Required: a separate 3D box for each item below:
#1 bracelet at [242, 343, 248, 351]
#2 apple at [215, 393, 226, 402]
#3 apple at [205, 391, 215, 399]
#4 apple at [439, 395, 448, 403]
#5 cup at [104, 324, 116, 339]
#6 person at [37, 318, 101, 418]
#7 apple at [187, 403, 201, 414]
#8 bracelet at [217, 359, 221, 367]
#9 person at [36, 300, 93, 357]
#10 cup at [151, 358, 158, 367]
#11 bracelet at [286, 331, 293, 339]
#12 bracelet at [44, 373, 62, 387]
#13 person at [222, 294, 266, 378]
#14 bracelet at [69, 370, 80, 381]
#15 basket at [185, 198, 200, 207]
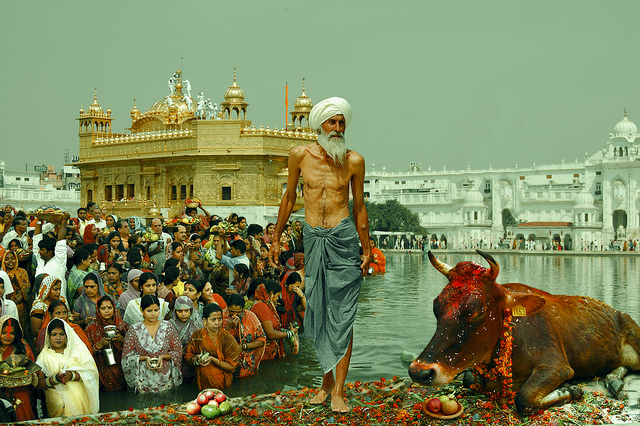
[{"bbox_3d":[-1.542,2.774,22.016,0.123,0.153,0.068,-2,-2,-31],"label":"bracelet"},{"bbox_3d":[-1.865,3.472,20.124,0.148,0.154,0.153,-2,-2,2],"label":"apple"},{"bbox_3d":[-2.048,3.424,20.127,0.134,0.142,0.140,0,3,29],"label":"apple"},{"bbox_3d":[2.280,3.447,19.880,0.110,0.114,0.131,15,-40,-27],"label":"apple"},{"bbox_3d":[-4.107,2.373,21.167,0.220,0.259,0.230,-1,0,0],"label":"cup"},{"bbox_3d":[-4.794,2.948,20.506,1.079,1.808,0.447,-2,-2,-19],"label":"person"},{"bbox_3d":[-2.346,3.649,20.055,0.201,0.210,0.208,2,-2,35],"label":"apple"},{"bbox_3d":[-2.012,3.021,21.488,0.066,0.112,0.027,-3,-2,-8],"label":"bracelet"},{"bbox_3d":[-4.982,2.318,20.898,0.766,1.160,0.592,-7,-14,-27],"label":"person"},{"bbox_3d":[-3.268,2.997,21.297,0.144,0.145,0.151,-2,-3,0],"label":"cup"},{"bbox_3d":[-0.639,2.611,22.836,0.140,0.148,0.037,-1,-2,-18],"label":"bracelet"},{"bbox_3d":[-5.017,3.199,20.389,0.223,0.263,0.099,20,-8,-1],"label":"bracelet"},{"bbox_3d":[-1.559,2.616,22.059,1.267,1.919,0.994,-3,-13,-1],"label":"person"},{"bbox_3d":[-4.643,3.125,20.434,0.139,0.161,0.157,8,27,13],"label":"bracelet"},{"bbox_3d":[-3.114,-0.172,26.366,0.264,0.158,0.279,0,-1,2],"label":"basket"}]
